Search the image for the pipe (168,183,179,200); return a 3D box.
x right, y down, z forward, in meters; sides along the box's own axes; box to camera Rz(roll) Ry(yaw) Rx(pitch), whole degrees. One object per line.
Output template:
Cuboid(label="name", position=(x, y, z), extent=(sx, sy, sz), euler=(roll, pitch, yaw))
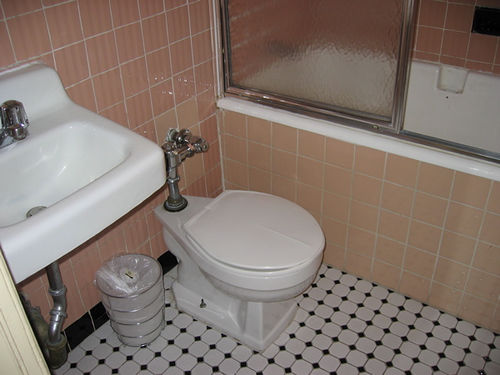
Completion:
Cuboid(label="pipe", position=(-0.341, 0.012, 1.663), extent=(0.042, 0.085, 0.028), euler=(-11, 36, -14))

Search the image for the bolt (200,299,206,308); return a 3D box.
Cuboid(label="bolt", position=(-0.217, 0.535, 1.709), extent=(0.022, 0.021, 0.031), euler=(-22, 42, -27))

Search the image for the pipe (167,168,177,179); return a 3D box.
Cuboid(label="pipe", position=(-0.339, -0.062, 1.628), extent=(0.027, 0.045, 0.046), euler=(-3, 29, -11))

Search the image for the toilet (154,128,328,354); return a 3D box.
Cuboid(label="toilet", position=(-0.072, 0.230, 1.619), extent=(0.764, 0.835, 0.487), euler=(15, 32, 29))

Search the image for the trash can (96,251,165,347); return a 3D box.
Cuboid(label="trash can", position=(-0.502, 0.509, 1.651), extent=(0.232, 0.363, 0.240), euler=(-24, 41, -35))

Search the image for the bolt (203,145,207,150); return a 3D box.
Cuboid(label="bolt", position=(-0.199, -0.180, 1.653), extent=(0.011, 0.016, 0.005), euler=(-12, 30, -14))

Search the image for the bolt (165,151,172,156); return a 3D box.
Cuboid(label="bolt", position=(-0.343, -0.145, 1.575), extent=(0.017, 0.009, 0.025), euler=(6, -8, -20))
